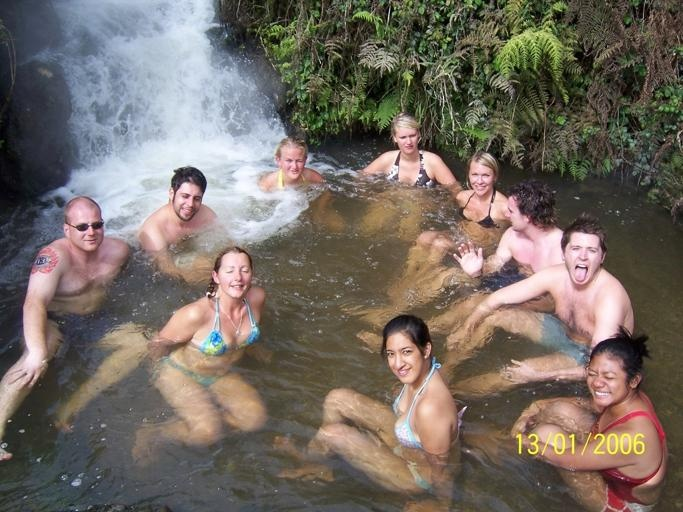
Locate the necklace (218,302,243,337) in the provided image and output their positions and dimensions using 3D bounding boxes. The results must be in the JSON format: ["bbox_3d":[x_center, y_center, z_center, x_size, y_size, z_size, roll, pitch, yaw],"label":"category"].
[{"bbox_3d":[-1.164,0.683,6.326,0.199,0.376,0.126,4,-2,-9],"label":"necklace"}]
